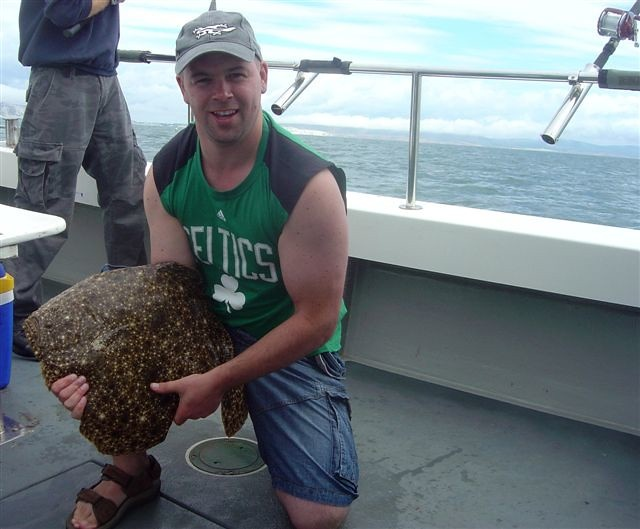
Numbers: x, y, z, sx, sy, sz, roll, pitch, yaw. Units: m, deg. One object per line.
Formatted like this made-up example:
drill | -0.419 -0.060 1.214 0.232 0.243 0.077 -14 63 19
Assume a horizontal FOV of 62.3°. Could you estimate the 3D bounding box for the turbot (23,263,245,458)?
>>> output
turbot | -0.546 0.317 1.624 0.363 0.558 0.521 33 35 33
